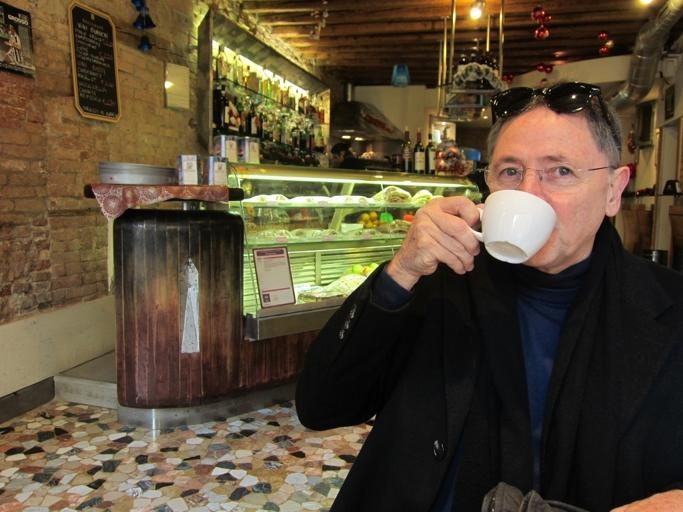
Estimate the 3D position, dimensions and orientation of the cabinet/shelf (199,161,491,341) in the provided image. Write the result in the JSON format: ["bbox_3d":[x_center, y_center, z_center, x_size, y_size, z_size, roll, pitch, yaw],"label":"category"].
[{"bbox_3d":[0.257,-0.126,3.590,2.427,1.041,0.522,-8,7,-39],"label":"cabinet/shelf"}]

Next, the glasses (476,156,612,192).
[{"bbox_3d":[0.475,-0.187,1.086,0.280,0.069,0.145,1,8,20],"label":"glasses"}]

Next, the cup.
[{"bbox_3d":[0.329,-0.073,0.985,0.162,0.129,0.105,6,57,41],"label":"cup"}]
